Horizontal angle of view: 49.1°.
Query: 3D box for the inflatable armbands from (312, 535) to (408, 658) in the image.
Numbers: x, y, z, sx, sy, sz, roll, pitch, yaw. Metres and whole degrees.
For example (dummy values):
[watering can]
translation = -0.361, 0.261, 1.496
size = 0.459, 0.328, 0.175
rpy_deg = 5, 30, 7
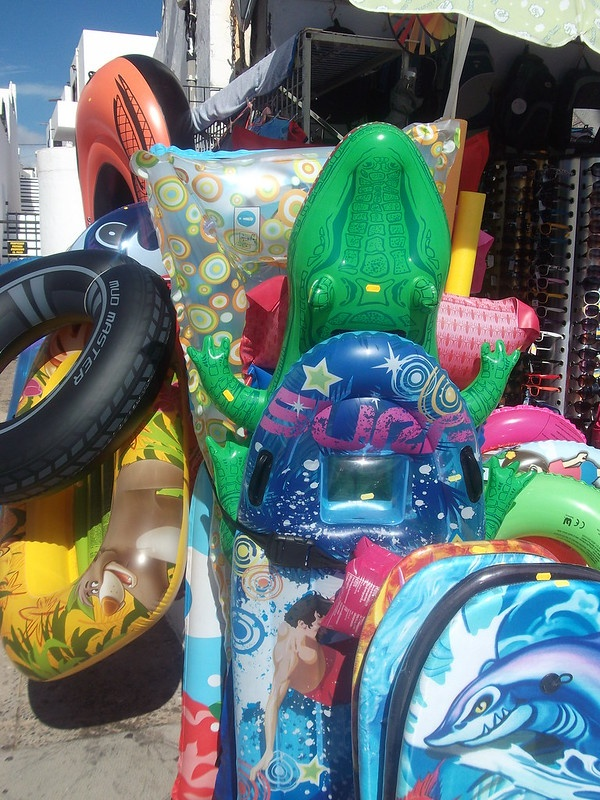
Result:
[inflatable armbands]
translation = 0.134, 0.431, 1.434
size = 0.181, 0.206, 0.065
rpy_deg = 25, 14, 31
